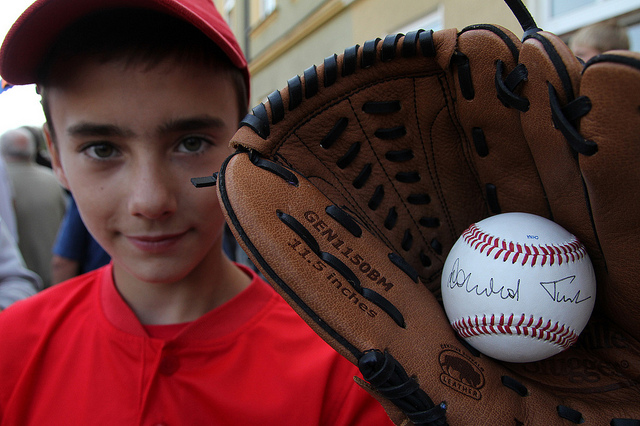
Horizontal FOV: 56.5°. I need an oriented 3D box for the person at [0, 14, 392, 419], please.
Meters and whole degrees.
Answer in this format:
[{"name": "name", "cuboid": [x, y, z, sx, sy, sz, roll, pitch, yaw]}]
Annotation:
[{"name": "person", "cuboid": [-0.529, 0.072, 2.551, 1.731, 1.351, 0.905, -1, -8, -10]}]
